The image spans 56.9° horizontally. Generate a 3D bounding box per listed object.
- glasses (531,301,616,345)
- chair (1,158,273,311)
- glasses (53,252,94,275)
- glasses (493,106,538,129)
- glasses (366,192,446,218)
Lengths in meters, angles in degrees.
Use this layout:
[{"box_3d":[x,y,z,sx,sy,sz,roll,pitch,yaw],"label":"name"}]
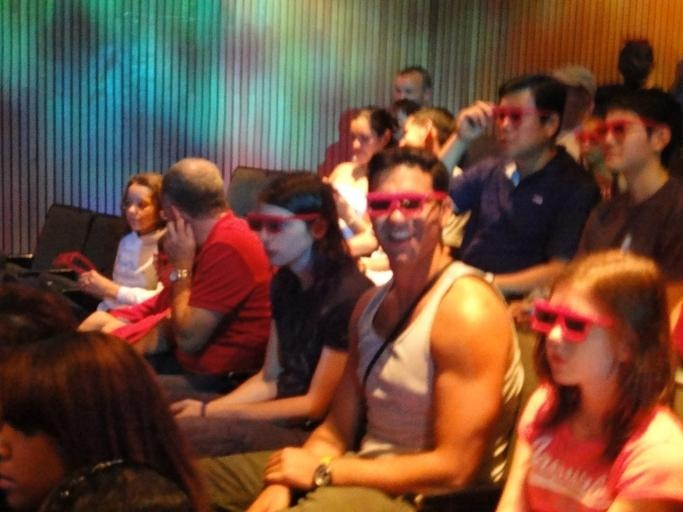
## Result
[{"box_3d":[0.529,0.166,1.497,0.086,0.106,0.197,-2,12,-28],"label":"glasses"},{"box_3d":[-1.446,-0.062,4.893,1.330,1.143,1.268,3,2,-44],"label":"chair"},{"box_3d":[-1.950,0.056,4.605,0.209,0.056,0.125,12,21,-5],"label":"glasses"},{"box_3d":[0.720,-0.554,2.606,0.113,0.055,0.104,-2,1,-31],"label":"glasses"},{"box_3d":[0.188,-0.151,1.849,0.231,0.088,0.088,5,11,5],"label":"glasses"}]
